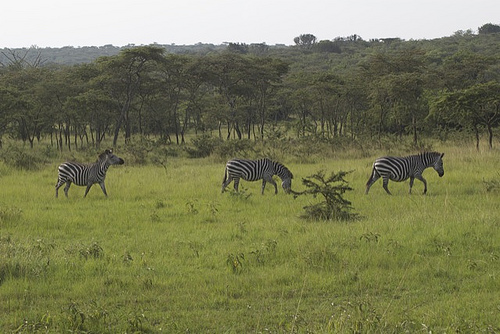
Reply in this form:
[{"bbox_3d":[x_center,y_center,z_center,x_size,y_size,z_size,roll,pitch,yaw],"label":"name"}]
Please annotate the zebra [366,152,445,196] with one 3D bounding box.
[{"bbox_3d":[9.229,0.414,43.070,4.697,2.626,1.188,-1,5,23],"label":"zebra"}]
